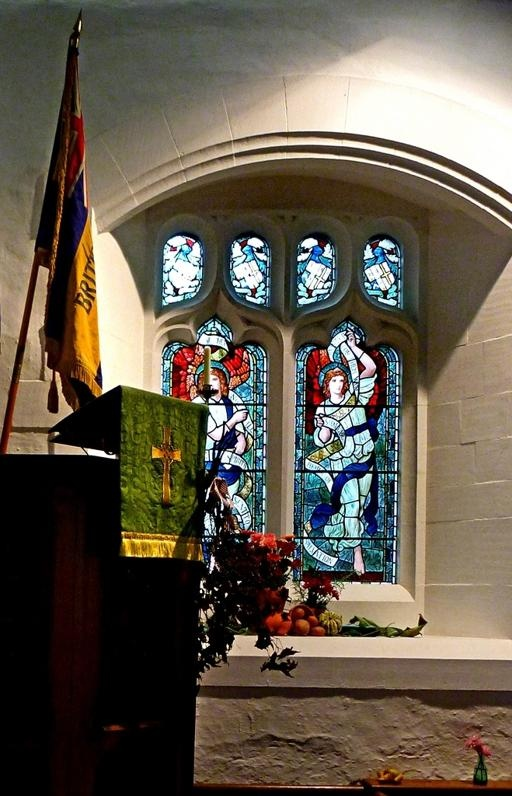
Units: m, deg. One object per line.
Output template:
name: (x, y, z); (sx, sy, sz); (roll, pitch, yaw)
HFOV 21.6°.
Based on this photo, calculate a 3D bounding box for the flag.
flag: (-0.743, -0.703, 5.323); (0.211, 1.421, 0.207); (-5, -10, 30)

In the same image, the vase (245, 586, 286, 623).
vase: (0.048, 0.710, 4.565); (0.097, 0.118, 0.261); (-4, -9, 19)

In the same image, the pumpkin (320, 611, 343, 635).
pumpkin: (0.338, 1.019, 6.113); (0.092, 0.103, 0.096); (3, 13, -4)

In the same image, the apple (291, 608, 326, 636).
apple: (0.226, 0.996, 5.938); (0.120, 0.088, 0.134); (5, -8, 0)

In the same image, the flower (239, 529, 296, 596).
flower: (0.057, 0.553, 4.633); (0.229, 0.261, 0.198); (0, -17, 2)
